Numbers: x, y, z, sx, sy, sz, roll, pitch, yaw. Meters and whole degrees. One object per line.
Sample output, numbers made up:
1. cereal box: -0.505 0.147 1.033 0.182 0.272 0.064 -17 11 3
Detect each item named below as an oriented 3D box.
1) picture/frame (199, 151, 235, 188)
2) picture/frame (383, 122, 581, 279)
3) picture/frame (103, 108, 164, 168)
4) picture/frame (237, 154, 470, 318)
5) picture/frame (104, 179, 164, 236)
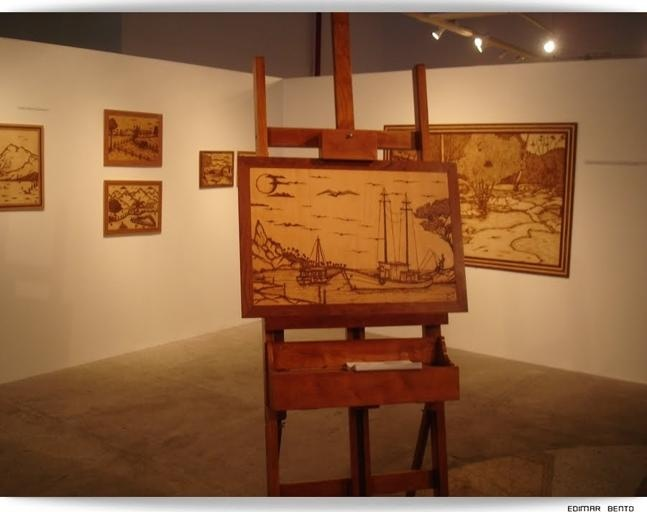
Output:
1. picture/frame: -1.298 -1.071 5.973 0.438 0.420 0.047 -7 10 -44
2. picture/frame: 1.547 -0.504 4.413 1.662 1.309 0.036 1 4 32
3. picture/frame: -2.057 -1.280 5.287 0.667 0.660 0.042 -3 3 -43
4. picture/frame: 0.144 -0.103 2.913 0.954 0.685 0.025 0 -10 -9
5. picture/frame: -2.076 -0.540 5.339 0.598 0.609 0.042 -4 4 -42
